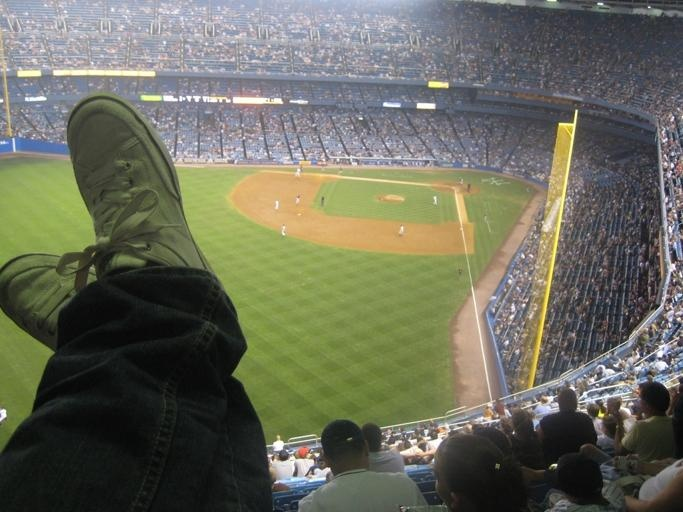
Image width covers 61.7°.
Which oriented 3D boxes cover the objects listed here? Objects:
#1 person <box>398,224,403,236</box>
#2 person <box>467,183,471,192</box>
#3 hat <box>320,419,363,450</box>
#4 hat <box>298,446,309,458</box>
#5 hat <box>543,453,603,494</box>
[{"bbox_3d":[3.606,-1.625,34.823,0.276,0.693,0.287,-6,-9,26],"label":"person"},{"bbox_3d":[10.829,-5.868,48.734,0.374,0.415,1.041,6,46,5],"label":"person"},{"bbox_3d":[0.011,1.443,4.574,0.256,0.252,0.281,1,10,7],"label":"hat"},{"bbox_3d":[-0.893,4.499,12.918,0.285,0.222,0.220,-1,13,4],"label":"hat"},{"bbox_3d":[1.989,1.855,4.890,0.319,0.219,0.400,-14,22,0],"label":"hat"}]
